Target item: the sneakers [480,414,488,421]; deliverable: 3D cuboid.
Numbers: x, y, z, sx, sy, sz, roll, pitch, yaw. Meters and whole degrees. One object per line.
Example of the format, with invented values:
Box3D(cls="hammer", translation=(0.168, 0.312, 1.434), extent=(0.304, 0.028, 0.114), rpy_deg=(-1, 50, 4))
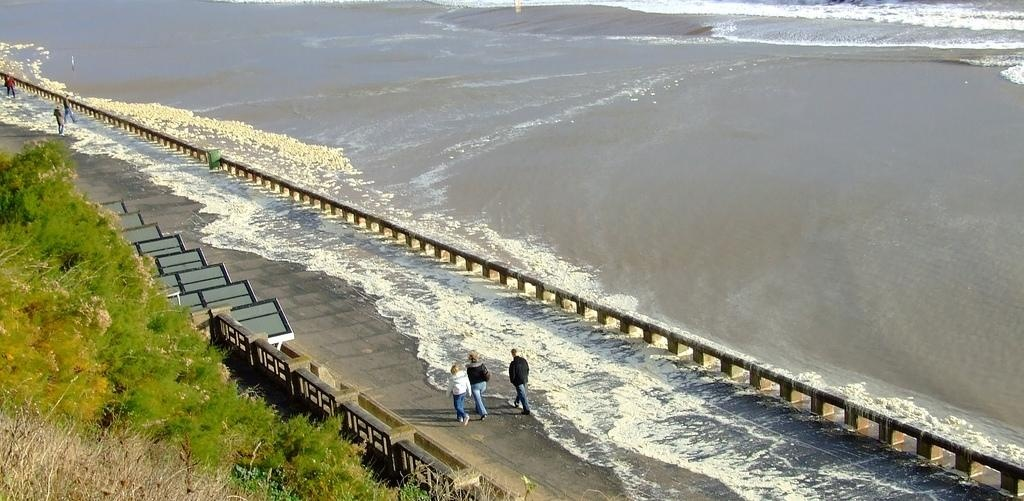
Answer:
Box3D(cls="sneakers", translation=(-1.403, 7.808, 48.488), extent=(0.270, 0.244, 0.318), rpy_deg=(17, -12, -39))
